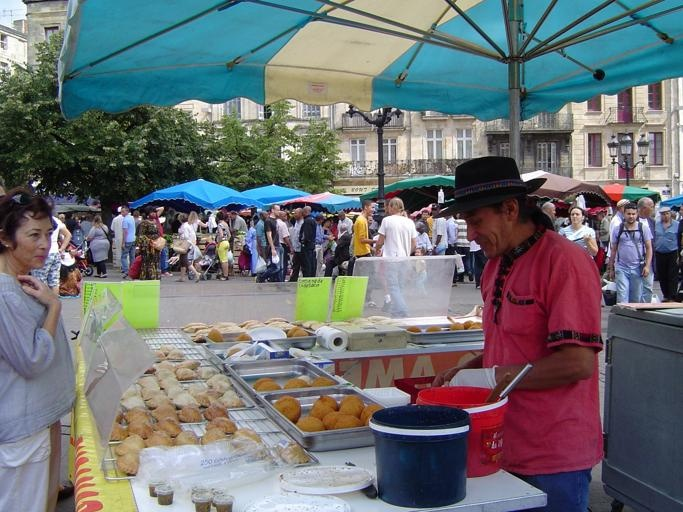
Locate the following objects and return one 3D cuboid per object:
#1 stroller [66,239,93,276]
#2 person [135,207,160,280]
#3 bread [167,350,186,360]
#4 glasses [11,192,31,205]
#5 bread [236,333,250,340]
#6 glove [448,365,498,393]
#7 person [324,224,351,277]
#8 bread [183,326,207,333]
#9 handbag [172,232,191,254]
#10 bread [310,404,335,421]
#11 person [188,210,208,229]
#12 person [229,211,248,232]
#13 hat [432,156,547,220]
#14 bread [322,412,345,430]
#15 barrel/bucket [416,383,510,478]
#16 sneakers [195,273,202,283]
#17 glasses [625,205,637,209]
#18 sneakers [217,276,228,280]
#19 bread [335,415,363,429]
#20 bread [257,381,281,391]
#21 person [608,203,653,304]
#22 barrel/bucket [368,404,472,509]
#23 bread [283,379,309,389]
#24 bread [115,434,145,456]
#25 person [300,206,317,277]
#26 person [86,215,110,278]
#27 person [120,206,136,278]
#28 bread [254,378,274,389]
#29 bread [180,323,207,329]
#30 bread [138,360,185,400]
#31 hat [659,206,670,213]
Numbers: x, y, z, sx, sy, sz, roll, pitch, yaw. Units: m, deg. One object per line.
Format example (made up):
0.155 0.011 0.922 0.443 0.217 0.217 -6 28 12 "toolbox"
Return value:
-6.585 0.059 17.607 0.853 0.887 1.371 -6 8 -29 "stroller"
-4.198 -0.189 15.313 0.469 1.509 1.054 -2 3 -15 "person"
-1.144 0.705 4.859 0.117 0.054 0.162 -2 3 -14 "bread"
-1.778 -0.311 3.892 0.073 0.028 0.074 3 -37 -28 "glasses"
-0.743 0.633 5.287 0.049 0.042 0.054 0 1 20 "bread"
0.683 0.632 3.529 0.158 0.159 0.117 -4 1 20 "glove"
-0.036 -0.075 16.858 0.640 1.217 1.976 -1 3 0 "person"
-1.259 0.647 5.990 0.122 0.041 0.097 -1 1 30 "bread"
-4.109 -0.289 18.123 0.207 0.627 0.597 2 1 34 "handbag"
-0.102 0.825 3.617 0.078 0.047 0.067 0 1 40 "bread"
-4.466 -1.087 21.857 0.266 0.940 0.872 -5 9 -27 "person"
-3.174 -1.013 21.638 0.484 0.690 1.397 -2 3 -10 "person"
0.768 -0.388 3.660 0.552 0.217 0.528 -9 5 -3 "hat"
-0.043 0.847 3.512 0.059 0.065 0.081 -7 -9 -9 "bread"
0.616 0.828 3.301 0.356 0.295 0.365 0 -4 0 "barrel/bucket"
-3.795 0.638 18.649 0.135 0.189 0.451 0 -23 -13 "sneakers"
4.630 -0.766 11.068 0.118 0.064 0.149 1 1 14 "glasses"
-3.311 0.676 19.639 0.126 0.136 0.303 -3 4 -37 "sneakers"
0.040 0.843 3.495 0.085 0.051 0.065 3 -1 -16 "bread"
-0.420 0.766 4.045 0.061 0.047 0.075 -3 0 -29 "bread"
4.669 -0.024 11.184 0.614 1.603 0.621 0 3 22 "person"
0.343 0.867 3.057 0.378 0.307 0.391 -1 -7 0 "barrel/bucket"
-0.258 0.758 4.057 0.079 0.047 0.065 0 -3 -31 "bread"
-0.996 0.911 3.311 0.080 0.035 0.129 2 5 -5 "bread"
-0.769 -0.264 16.486 0.368 1.599 0.938 -2 3 -2 "person"
-6.422 -0.227 18.506 0.500 1.643 1.134 -2 3 -20 "person"
-5.749 -0.353 18.915 0.406 1.889 1.049 -2 3 -17 "person"
-0.444 0.758 4.083 0.057 0.041 0.071 -2 3 0 "bread"
-1.270 0.629 6.061 0.175 0.059 0.134 -1 -4 -6 "bread"
-1.046 0.750 4.069 0.244 0.072 0.415 -1 13 -14 "bread"
5.834 -0.812 12.524 0.158 0.074 0.220 -5 -3 15 "hat"
